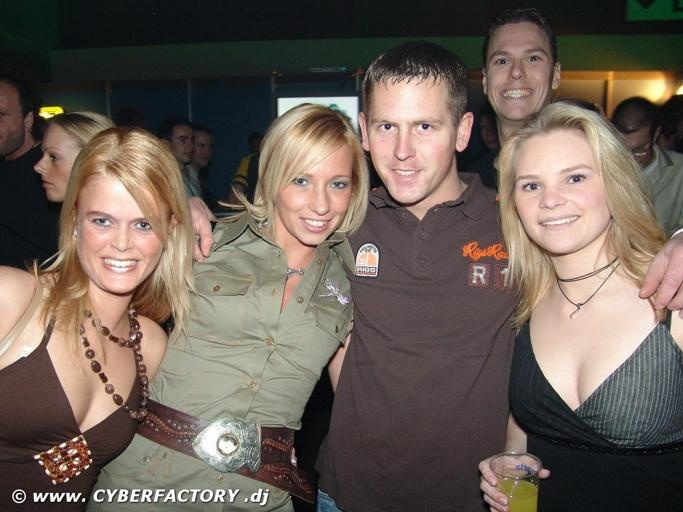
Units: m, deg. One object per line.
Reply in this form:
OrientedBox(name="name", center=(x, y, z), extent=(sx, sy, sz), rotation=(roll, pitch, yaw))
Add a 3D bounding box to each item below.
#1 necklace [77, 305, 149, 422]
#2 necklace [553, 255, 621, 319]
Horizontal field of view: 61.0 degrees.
OrientedBox(name="necklace", center=(-1.230, 0.613, 3.187), extent=(0.083, 0.561, 0.347), rotation=(-23, -3, 37))
OrientedBox(name="necklace", center=(1.320, 0.159, 3.067), extent=(0.264, 0.318, 0.035), rotation=(23, 7, 0))
